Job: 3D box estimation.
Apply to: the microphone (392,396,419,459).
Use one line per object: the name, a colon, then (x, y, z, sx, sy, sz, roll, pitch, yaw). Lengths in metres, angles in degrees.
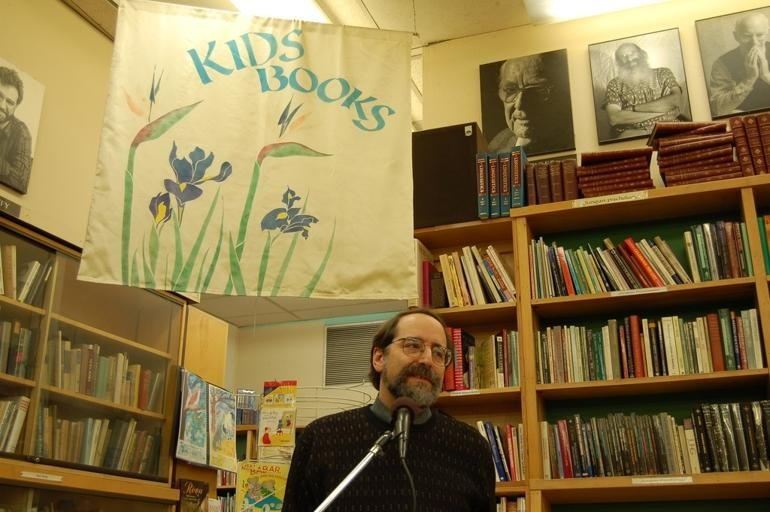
microphone: (0.069, 0.611, 2.148, 0.088, 0.257, 0.084, 2, -58, 6)
